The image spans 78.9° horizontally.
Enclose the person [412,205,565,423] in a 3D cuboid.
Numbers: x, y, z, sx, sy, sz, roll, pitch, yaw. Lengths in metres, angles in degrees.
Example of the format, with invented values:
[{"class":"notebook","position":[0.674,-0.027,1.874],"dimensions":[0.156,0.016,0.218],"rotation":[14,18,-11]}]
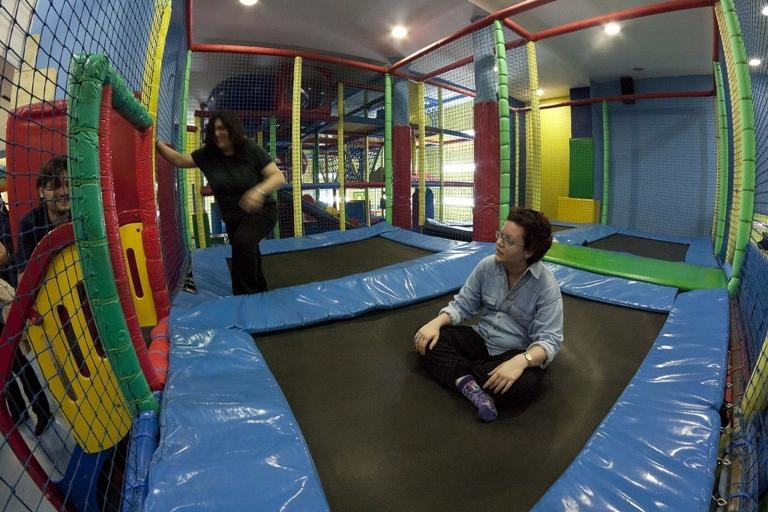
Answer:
[{"class":"person","position":[0.595,0.235,2.429],"dimensions":[0.698,0.958,0.548],"rotation":[-11,13,-40]}]

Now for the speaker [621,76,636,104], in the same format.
[{"class":"speaker","position":[3.789,-2.579,7.203],"dimensions":[0.215,0.387,0.568],"rotation":[3,11,27]}]

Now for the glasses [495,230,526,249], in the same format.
[{"class":"glasses","position":[0.673,-0.075,2.416],"dimensions":[0.103,0.030,0.098],"rotation":[20,-3,-32]}]

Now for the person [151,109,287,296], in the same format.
[{"class":"person","position":[-1.014,-0.344,3.133],"dimensions":[0.697,1.191,0.335],"rotation":[0,11,13]}]

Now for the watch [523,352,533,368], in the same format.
[{"class":"watch","position":[0.708,0.509,2.295],"dimensions":[0.044,0.063,0.045],"rotation":[-8,11,-24]}]
